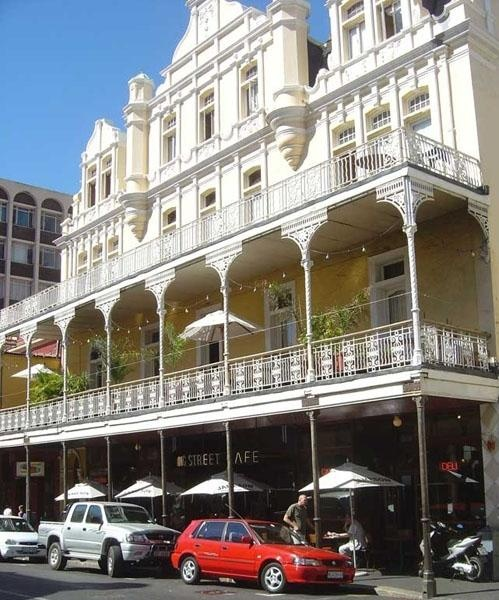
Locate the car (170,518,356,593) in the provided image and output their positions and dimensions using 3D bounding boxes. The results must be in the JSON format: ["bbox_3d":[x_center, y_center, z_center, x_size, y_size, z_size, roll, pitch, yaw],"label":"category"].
[{"bbox_3d":[0.193,4.434,15.086,2.793,0.969,1.366,-16,-22,41],"label":"car"}]

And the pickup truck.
[{"bbox_3d":[-2.784,4.945,17.862,1.462,1.107,2.599,17,-26,-38],"label":"pickup truck"}]

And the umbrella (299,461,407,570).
[{"bbox_3d":[2.298,4.380,17.994,2.078,2.101,1.949,3,-32,-6],"label":"umbrella"}]

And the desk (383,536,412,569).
[{"bbox_3d":[3.190,5.425,18.439,0.556,0.657,0.703,20,-27,-32],"label":"desk"}]

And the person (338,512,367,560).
[{"bbox_3d":[2.096,4.828,17.359,0.608,1.084,0.521,-8,-16,26],"label":"person"}]

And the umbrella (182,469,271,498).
[{"bbox_3d":[-0.596,4.499,21.149,1.923,0.671,4.508,-3,-16,-2],"label":"umbrella"}]

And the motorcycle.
[{"bbox_3d":[3.698,4.734,16.128,0.609,0.946,1.731,15,-21,-32],"label":"motorcycle"}]

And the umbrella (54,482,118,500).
[{"bbox_3d":[-4.926,5.683,25.543,1.050,0.444,1.133,2,-14,-5],"label":"umbrella"}]
